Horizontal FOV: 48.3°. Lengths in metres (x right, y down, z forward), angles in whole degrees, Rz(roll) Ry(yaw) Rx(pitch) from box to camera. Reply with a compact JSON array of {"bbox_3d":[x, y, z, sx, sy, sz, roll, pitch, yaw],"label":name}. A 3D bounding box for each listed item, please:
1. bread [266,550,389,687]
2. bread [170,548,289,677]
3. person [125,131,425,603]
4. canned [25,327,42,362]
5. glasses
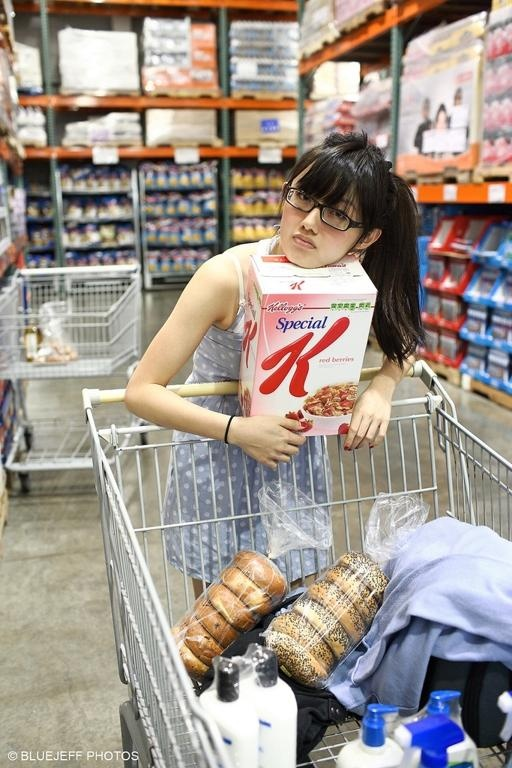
[{"bbox_3d":[0.108,0.343,0.850,0.109,0.072,0.198,35,54,17],"label":"bread"},{"bbox_3d":[-0.038,0.359,0.940,0.206,0.111,0.073,-46,-13,-10],"label":"bread"},{"bbox_3d":[0.077,0.063,1.198,0.669,1.065,0.475,-4,13,-12],"label":"person"},{"bbox_3d":[-1.087,-0.189,2.775,0.086,0.151,0.274,-6,14,-21],"label":"canned"},{"bbox_3d":[0.104,-0.294,0.947,0.134,0.080,0.071,3,14,16],"label":"glasses"}]
